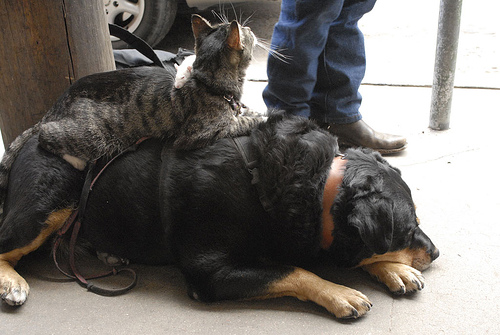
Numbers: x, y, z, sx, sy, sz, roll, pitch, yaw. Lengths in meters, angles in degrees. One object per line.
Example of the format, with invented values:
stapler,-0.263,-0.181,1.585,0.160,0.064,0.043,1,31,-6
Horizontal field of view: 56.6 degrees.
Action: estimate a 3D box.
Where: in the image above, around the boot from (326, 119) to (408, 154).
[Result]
boot,1.052,-0.330,4.890,1.070,0.411,0.337,-1,19,5
